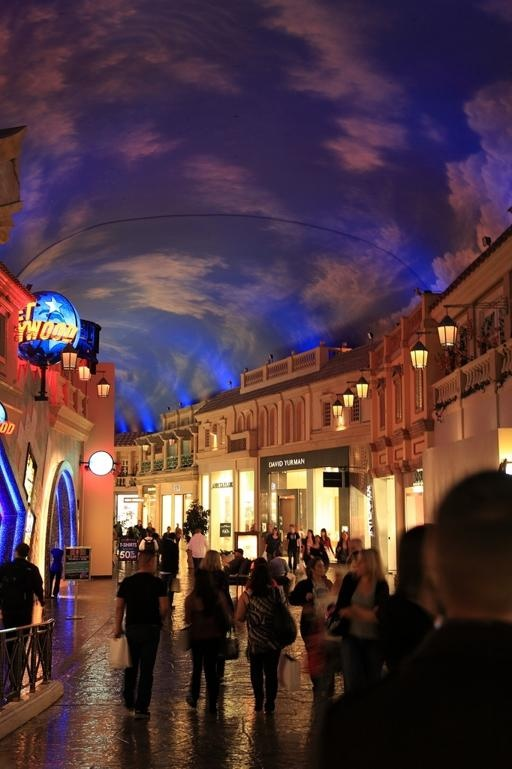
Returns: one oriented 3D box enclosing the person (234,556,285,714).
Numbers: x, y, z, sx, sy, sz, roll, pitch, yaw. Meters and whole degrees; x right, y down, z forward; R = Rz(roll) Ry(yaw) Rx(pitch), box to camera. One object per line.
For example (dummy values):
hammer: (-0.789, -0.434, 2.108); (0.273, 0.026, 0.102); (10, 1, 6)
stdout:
person: (0.065, 3.492, 8.510); (0.668, 2.004, 0.699); (-3, -11, 11)

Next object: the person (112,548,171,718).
person: (-1.594, 3.367, 8.366); (0.682, 2.130, 1.033); (2, -12, -13)

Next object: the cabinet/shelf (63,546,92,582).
cabinet/shelf: (-5.033, 5.023, 16.996); (0.703, 0.888, 0.536); (4, -12, -23)

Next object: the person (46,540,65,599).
person: (-7.108, 6.652, 21.464); (0.460, 1.659, 2.176); (3, -13, -17)

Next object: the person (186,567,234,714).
person: (-0.703, 3.565, 8.563); (0.595, 1.846, 0.653); (-3, -11, 15)

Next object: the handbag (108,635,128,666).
handbag: (-1.823, 3.593, 8.132); (0.235, 0.431, 0.371); (3, -12, -15)

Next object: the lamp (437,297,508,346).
lamp: (5.596, -1.724, 15.642); (2.084, 1.319, 1.278); (-6, 4, -4)

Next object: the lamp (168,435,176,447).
lamp: (-8.424, 5.685, 60.737); (0.593, 0.877, 1.960); (3, -13, -15)
